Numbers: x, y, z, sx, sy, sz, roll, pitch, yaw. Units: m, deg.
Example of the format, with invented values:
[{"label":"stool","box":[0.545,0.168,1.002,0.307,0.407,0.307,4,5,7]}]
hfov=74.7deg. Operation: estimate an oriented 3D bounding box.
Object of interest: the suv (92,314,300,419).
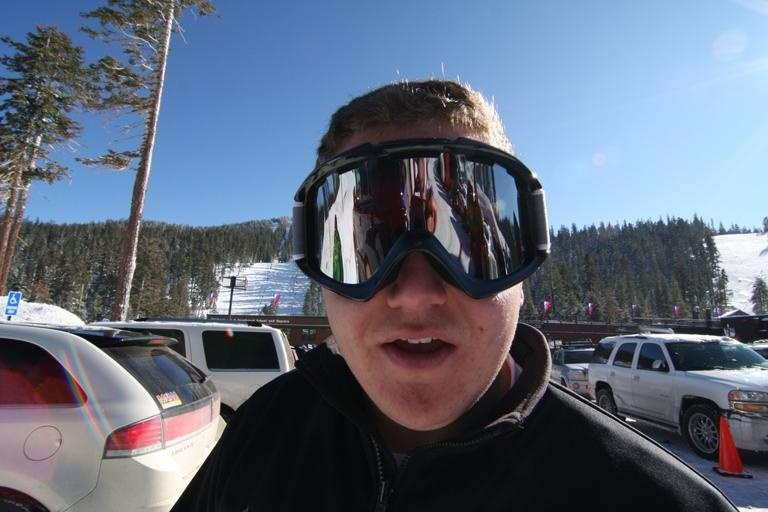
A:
[{"label":"suv","box":[-3.601,1.707,9.357,3.973,1.850,2.019,2,-9,4]}]
